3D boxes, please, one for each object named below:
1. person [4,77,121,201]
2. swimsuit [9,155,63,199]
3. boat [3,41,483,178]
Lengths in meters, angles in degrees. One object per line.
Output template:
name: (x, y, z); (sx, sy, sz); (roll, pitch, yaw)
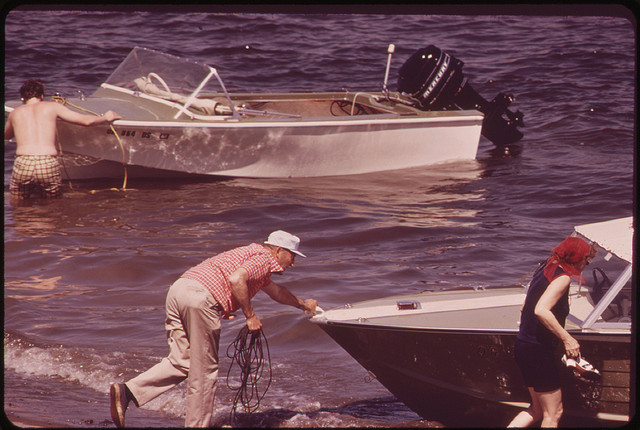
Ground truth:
person: (-4.476, -1.187, 16.937); (1.355, 1.973, 0.353); (2, 12, -10)
swimsuit: (-4.675, -0.624, 16.999); (0.813, 0.751, 0.275); (2, 11, -11)
boat: (-0.079, -1.961, 18.987); (9.777, 1.874, 2.826); (-4, 20, -25)
